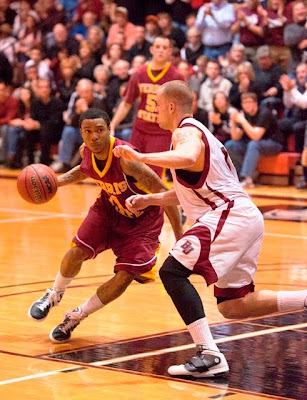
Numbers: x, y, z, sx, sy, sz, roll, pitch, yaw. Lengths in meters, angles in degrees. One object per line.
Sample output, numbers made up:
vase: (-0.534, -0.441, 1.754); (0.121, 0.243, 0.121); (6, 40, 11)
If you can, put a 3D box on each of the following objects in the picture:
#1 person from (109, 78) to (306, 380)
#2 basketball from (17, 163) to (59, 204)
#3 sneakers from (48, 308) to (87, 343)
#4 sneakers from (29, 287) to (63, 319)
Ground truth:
person: (0.243, 0.122, 1.854); (0.818, 1.286, 0.592); (-3, 14, -15)
basketball: (-0.687, -0.079, 2.508); (0.233, 0.232, 0.227); (-22, 22, -33)
sneakers: (-0.431, 0.670, 2.417); (0.126, 0.097, 0.318); (-45, -5, 22)
sneakers: (-0.608, 0.605, 2.582); (0.117, 0.098, 0.289); (-41, 3, 16)
